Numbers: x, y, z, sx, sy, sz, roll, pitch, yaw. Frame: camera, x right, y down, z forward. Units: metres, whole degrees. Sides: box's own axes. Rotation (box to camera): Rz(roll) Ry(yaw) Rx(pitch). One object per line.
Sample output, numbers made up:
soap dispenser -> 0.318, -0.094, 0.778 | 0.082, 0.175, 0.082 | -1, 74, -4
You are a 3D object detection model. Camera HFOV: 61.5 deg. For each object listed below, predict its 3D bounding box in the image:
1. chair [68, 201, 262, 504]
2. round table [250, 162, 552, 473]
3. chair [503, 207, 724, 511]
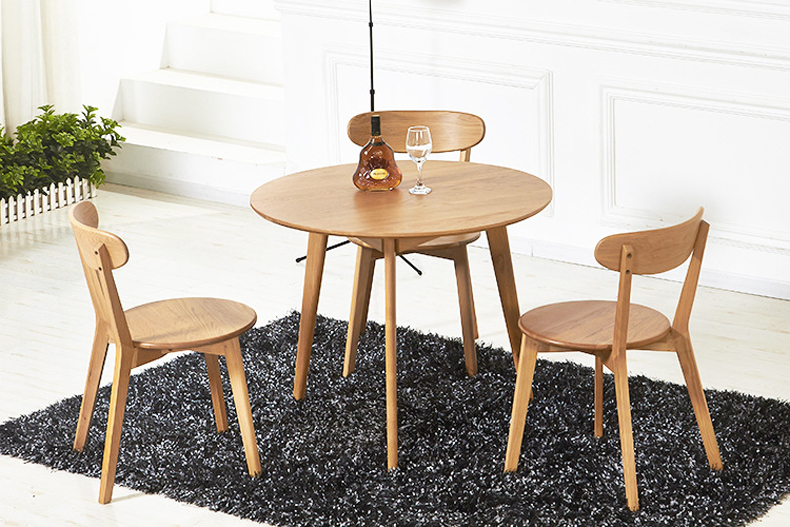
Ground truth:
chair -> -0.840, 0.303, 2.361 | 0.657, 1.016, 0.509 | -4, 21, -21
round table -> 0.145, 0.070, 2.804 | 1.326, 0.813, 1.269 | 1, 13, 0
chair -> 0.750, 0.277, 2.279 | 0.729, 0.758, 0.675 | -7, 4, -19
